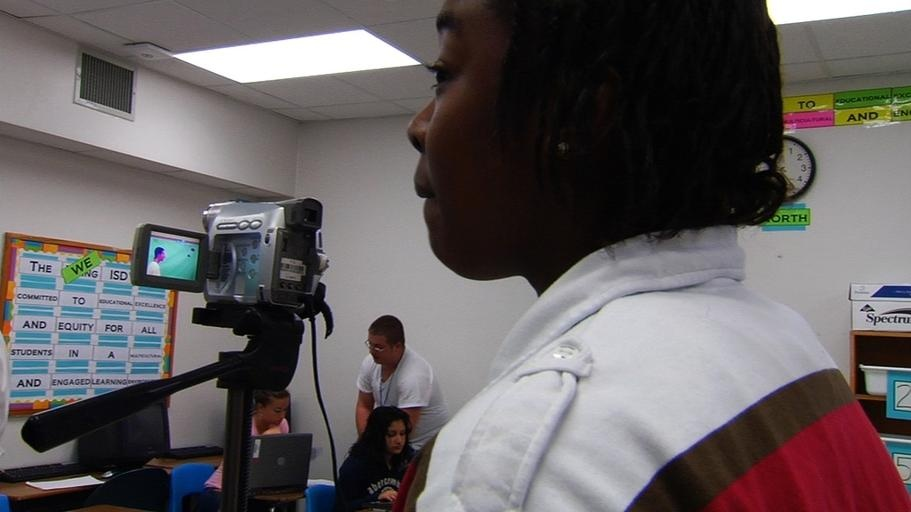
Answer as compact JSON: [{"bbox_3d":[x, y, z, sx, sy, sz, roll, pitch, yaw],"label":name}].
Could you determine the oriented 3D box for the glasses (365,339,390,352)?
[{"bbox_3d":[-0.562,0.676,4.791,0.138,0.039,0.147,9,1,45],"label":"glasses"}]

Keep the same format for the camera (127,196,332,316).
[{"bbox_3d":[-0.542,0.007,1.610,0.420,0.203,0.298,0,-1,-13],"label":"camera"}]

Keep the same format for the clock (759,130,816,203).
[{"bbox_3d":[2.260,-0.594,4.492,0.039,0.428,0.451,-14,14,-16],"label":"clock"}]
